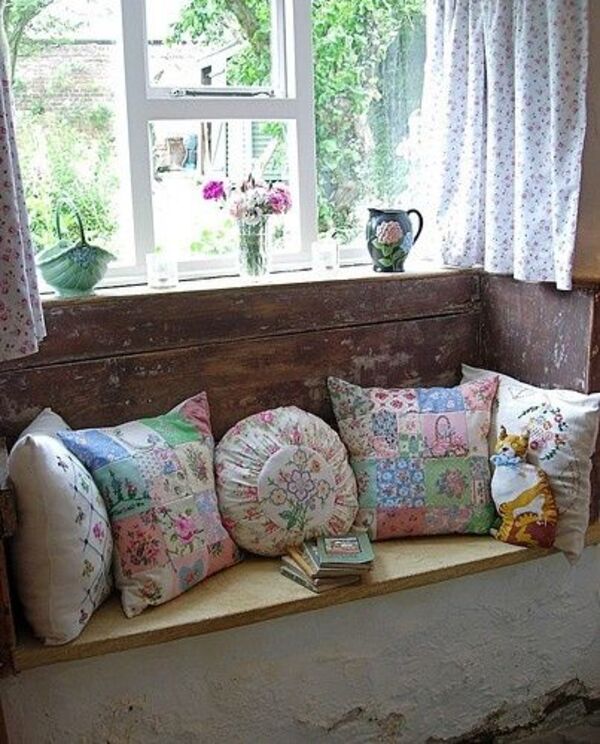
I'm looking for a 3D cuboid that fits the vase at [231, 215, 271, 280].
[{"bbox_3d":[-0.141,-0.346,1.741,0.120,0.173,0.109,0,16,8],"label":"vase"}]

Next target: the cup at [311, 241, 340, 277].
[{"bbox_3d":[0.078,-0.343,1.908,0.101,0.128,0.095,0,2,0],"label":"cup"}]

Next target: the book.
[{"bbox_3d":[0.063,0.429,1.422,0.212,0.072,0.176,-6,13,-5],"label":"book"}]

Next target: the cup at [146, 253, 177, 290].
[{"bbox_3d":[-0.353,-0.259,1.605,0.097,0.099,0.093,2,10,0],"label":"cup"}]

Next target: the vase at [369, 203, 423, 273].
[{"bbox_3d":[0.287,-0.407,1.905,0.203,0.187,0.148,-7,18,-20],"label":"vase"}]

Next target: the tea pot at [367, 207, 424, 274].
[{"bbox_3d":[0.265,-0.393,1.840,0.219,0.200,0.158,-4,11,-18],"label":"tea pot"}]
